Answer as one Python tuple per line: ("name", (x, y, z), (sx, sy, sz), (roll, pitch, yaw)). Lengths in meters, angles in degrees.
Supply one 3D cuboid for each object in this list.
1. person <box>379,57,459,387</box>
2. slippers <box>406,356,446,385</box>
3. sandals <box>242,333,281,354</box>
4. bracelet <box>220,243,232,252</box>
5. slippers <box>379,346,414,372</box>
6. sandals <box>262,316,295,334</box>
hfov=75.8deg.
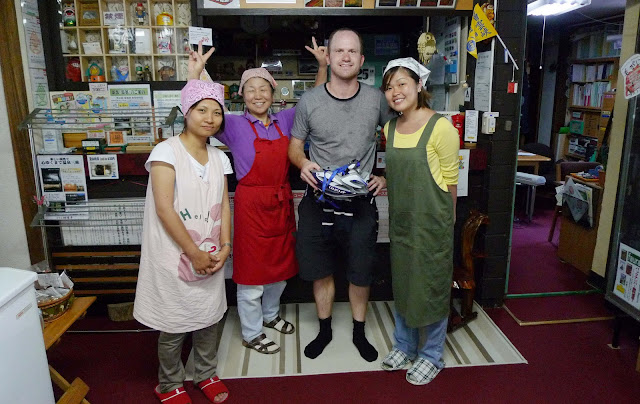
("person", (0.723, 0.177, 3.106), (0.579, 2.400, 0.597), (5, 18, 21))
("slippers", (0.796, 1.326, 3.200), (0.143, 0.095, 0.270), (5, 9, 45))
("sandals", (-0.497, 1.209, 3.512), (0.258, 0.090, 0.144), (5, 9, 20))
("bracelet", (-0.700, 0.345, 3.080), (0.059, 0.054, 0.075), (8, -5, -38))
("slippers", (0.613, 1.257, 3.290), (0.144, 0.082, 0.213), (1, -3, 41))
("sandals", (-0.370, 1.117, 3.766), (0.277, 0.103, 0.116), (4, 16, 16))
